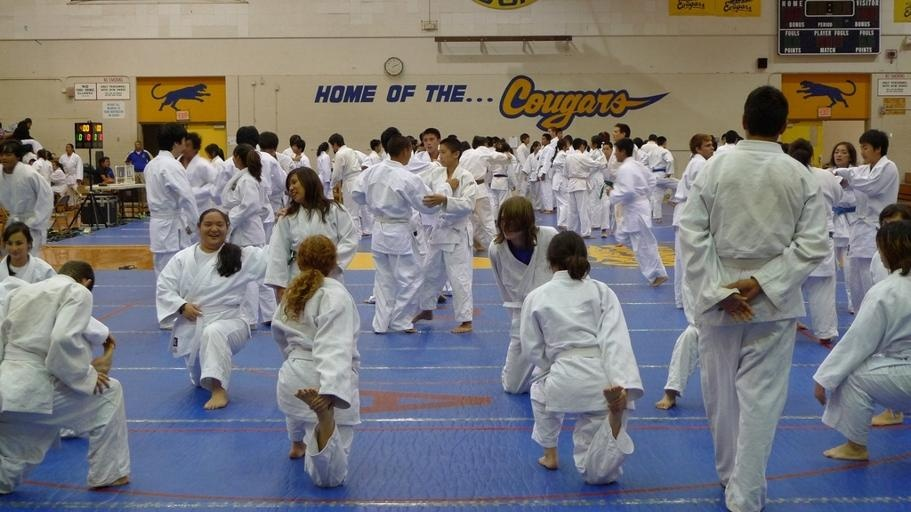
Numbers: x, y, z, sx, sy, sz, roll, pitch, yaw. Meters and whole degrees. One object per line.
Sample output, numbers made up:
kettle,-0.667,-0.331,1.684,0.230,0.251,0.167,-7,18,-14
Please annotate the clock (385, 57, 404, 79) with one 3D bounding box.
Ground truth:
clock,-1.982,-6.273,27.224,0.490,0.490,0.101,-35,5,2
